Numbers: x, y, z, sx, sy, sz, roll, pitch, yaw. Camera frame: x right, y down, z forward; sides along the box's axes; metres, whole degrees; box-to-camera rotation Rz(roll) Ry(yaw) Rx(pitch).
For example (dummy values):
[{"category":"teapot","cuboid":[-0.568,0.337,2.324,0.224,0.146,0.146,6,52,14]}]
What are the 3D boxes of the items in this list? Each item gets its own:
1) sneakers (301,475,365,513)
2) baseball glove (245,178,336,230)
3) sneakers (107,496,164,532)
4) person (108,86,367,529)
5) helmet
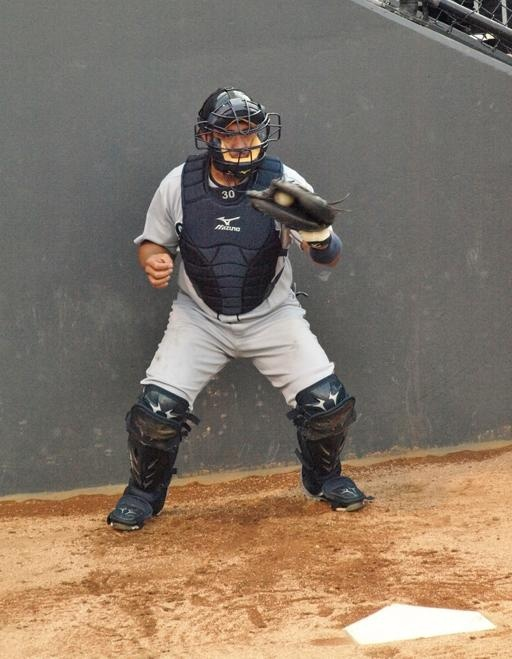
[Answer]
[{"category":"sneakers","cuboid":[0.324,0.707,3.785,0.114,0.081,0.282,-10,6,-34]},{"category":"baseball glove","cuboid":[0.119,-0.452,3.218,0.272,0.180,0.105,9,46,9]},{"category":"sneakers","cuboid":[-0.498,0.765,3.628,0.103,0.091,0.245,19,3,16]},{"category":"person","cuboid":[-0.128,-0.086,3.643,1.074,1.781,0.393,-5,10,-8]},{"category":"helmet","cuboid":[-0.112,-0.824,3.577,0.409,0.289,0.375,-13,31,-18]}]
